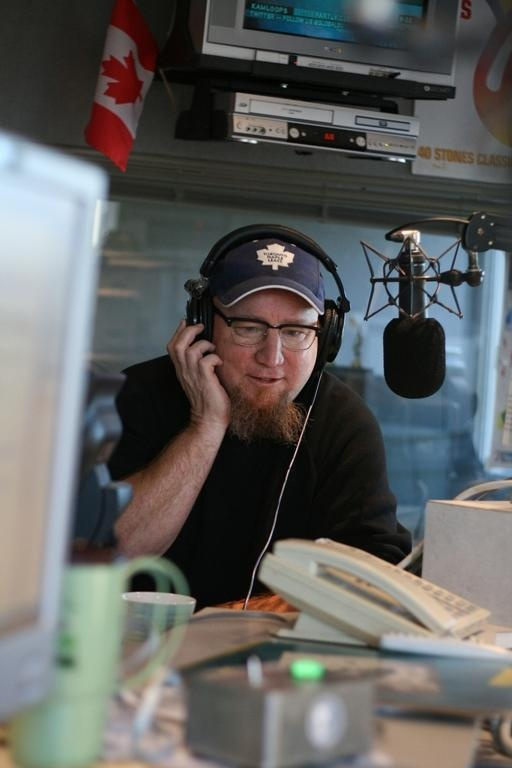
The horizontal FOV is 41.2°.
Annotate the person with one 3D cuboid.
[{"bbox_3d":[-0.006,0.100,1.683,0.769,0.950,0.584,7,2,-12],"label":"person"}]
